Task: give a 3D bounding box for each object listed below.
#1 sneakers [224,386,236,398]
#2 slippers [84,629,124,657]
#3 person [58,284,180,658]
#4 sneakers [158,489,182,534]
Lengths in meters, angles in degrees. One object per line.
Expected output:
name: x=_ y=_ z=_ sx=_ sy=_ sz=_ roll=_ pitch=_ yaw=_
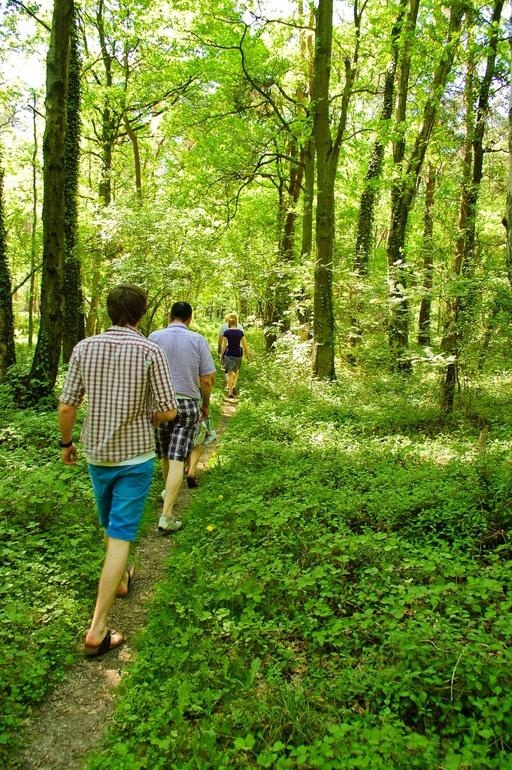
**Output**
sneakers: x=-0.574 y=0.168 z=14.196 sx=0.140 sy=0.167 sz=0.431 roll=3 pitch=9 yaw=-1
slippers: x=-1.038 y=1.738 z=4.416 sx=0.115 sy=0.094 sz=0.240 roll=10 pitch=8 yaw=23
person: x=-0.921 y=0.559 z=4.467 sx=0.773 sy=2.443 sz=0.608 roll=-4 pitch=11 yaw=-17
sneakers: x=-0.817 y=1.292 z=6.315 sx=0.166 sy=0.189 sz=0.474 roll=0 pitch=6 yaw=9
